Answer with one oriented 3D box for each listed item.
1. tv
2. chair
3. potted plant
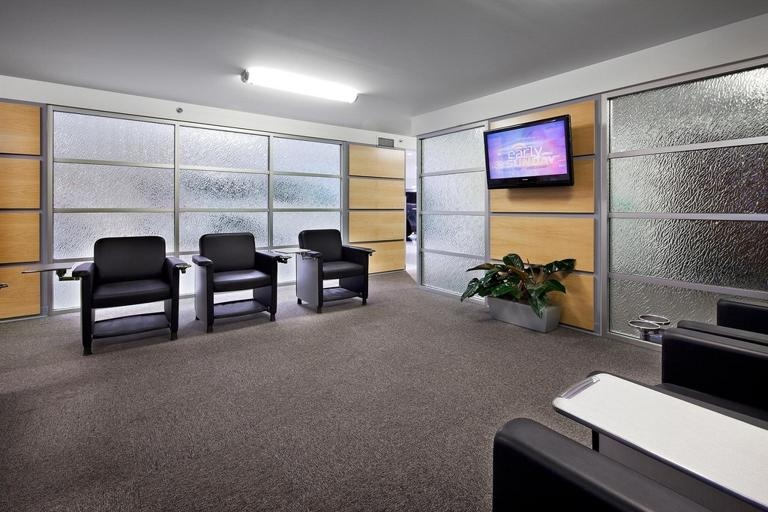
[{"bbox_3d":[1.810,-1.276,5.526,1.170,0.732,0.122,3,12,44],"label":"tv"},{"bbox_3d":[-2.108,0.281,5.578,2.928,1.133,0.919,-9,18,-32],"label":"chair"},{"bbox_3d":[1.644,0.431,5.501,1.113,0.699,1.122,-6,7,-33],"label":"potted plant"}]
